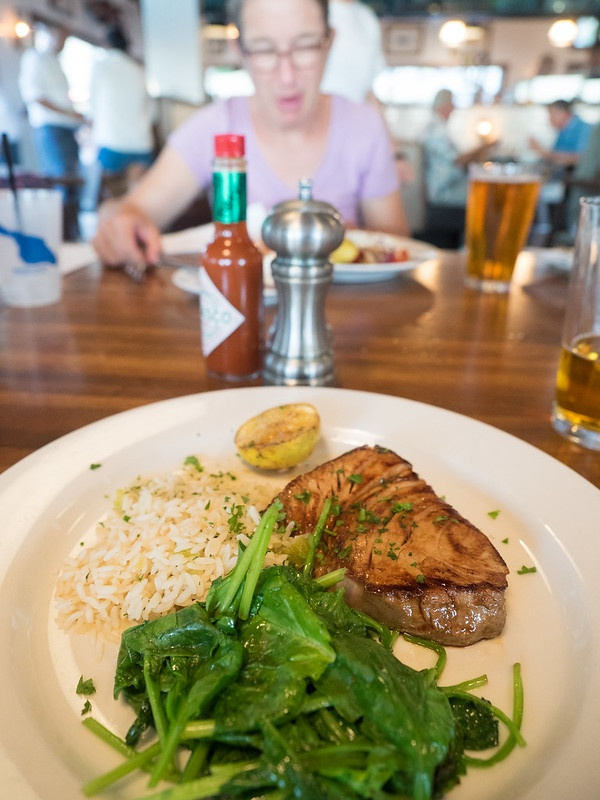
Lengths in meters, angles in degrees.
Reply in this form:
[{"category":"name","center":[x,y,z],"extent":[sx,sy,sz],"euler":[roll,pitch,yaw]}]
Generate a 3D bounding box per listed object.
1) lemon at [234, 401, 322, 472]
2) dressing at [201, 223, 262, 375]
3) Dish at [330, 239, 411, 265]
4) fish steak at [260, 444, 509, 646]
[{"category":"lemon","center":[-0.037,0.052,1.346],"extent":[0.187,0.120,0.173],"euler":[7,12,27]},{"category":"dressing","center":[-0.154,-0.221,1.581],"extent":[0.116,0.367,0.111],"euler":[-9,26,-26]},{"category":"Dish","center":[0.239,-0.494,2.317],"extent":[0.260,0.056,0.192],"euler":[6,20,20]},{"category":"fish steak","center":[0.153,0.179,1.118],"extent":[0.437,0.221,0.356],"euler":[-4,8,-28]}]
